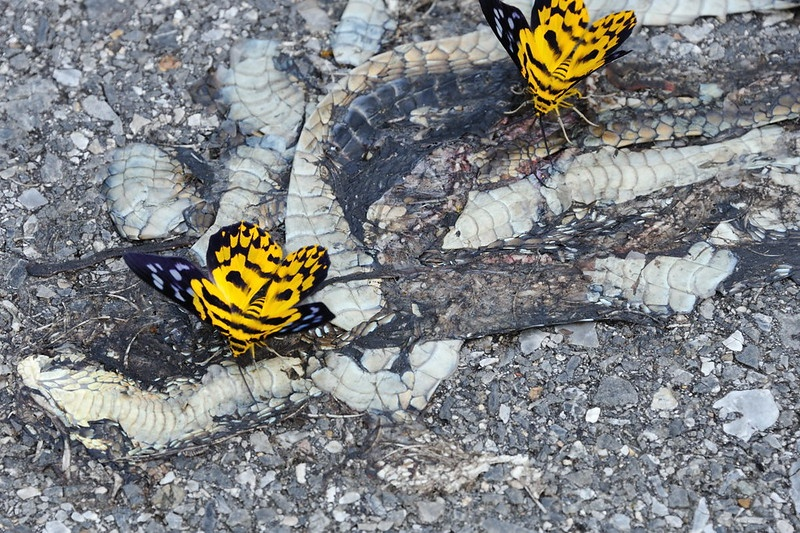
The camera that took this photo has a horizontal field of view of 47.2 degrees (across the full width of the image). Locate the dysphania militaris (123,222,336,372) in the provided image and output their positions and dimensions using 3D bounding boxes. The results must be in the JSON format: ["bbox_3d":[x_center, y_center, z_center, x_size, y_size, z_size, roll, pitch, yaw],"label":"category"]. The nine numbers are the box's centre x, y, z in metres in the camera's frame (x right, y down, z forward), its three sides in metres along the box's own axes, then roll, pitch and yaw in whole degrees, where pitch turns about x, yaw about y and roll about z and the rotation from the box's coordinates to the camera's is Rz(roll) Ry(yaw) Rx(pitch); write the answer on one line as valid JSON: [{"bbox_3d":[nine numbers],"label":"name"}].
[{"bbox_3d":[-0.505,0.060,2.879,0.577,0.146,0.393,-19,84,-4],"label":"dysphania militaris"}]
